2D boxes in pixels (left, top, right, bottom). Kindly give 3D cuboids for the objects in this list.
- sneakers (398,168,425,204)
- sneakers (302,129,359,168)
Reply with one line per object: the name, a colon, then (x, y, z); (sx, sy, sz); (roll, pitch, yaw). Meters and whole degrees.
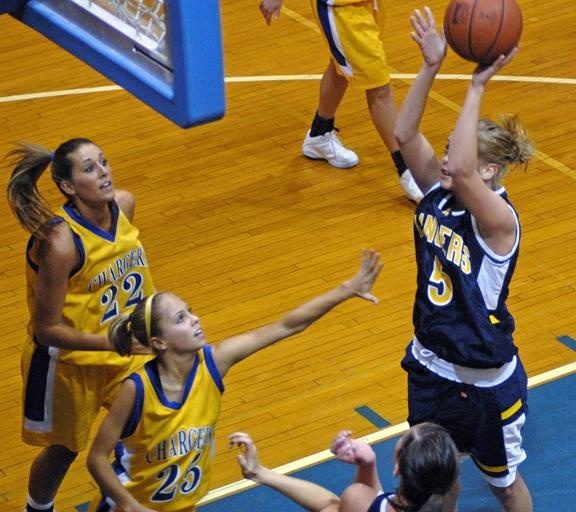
sneakers: (0.877, -0.499, 5.880); (0.153, 0.189, 0.470); (-38, 11, 3)
sneakers: (0.303, -0.795, 6.350); (0.528, 0.230, 0.196); (17, 45, 14)
